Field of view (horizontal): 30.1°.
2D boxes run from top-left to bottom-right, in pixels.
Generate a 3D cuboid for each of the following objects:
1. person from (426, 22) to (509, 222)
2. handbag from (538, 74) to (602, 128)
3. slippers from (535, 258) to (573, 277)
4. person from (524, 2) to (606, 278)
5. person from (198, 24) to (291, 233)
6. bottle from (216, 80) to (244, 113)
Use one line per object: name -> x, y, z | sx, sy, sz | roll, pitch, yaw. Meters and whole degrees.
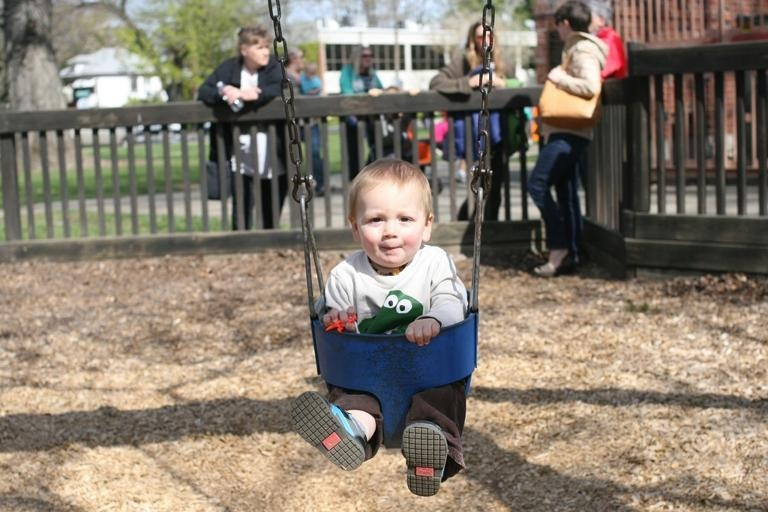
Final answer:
person -> 0.998, -1.454, 15.238 | 0.750, 2.023, 0.551 | 1, -1, -15
handbag -> 1.837, -1.523, 14.150 | 0.585, 0.505, 0.203 | 0, 13, 8
slippers -> 1.777, 0.097, 14.754 | 0.429, 0.176, 0.166 | -7, 5, -17
person -> 1.809, -1.169, 14.340 | 0.813, 2.671, 0.816 | 0, 3, 1
person -> -1.432, -1.326, 15.132 | 0.909, 2.128, 0.761 | 3, -3, -21
bottle -> -1.607, -1.685, 14.926 | 0.286, 0.342, 0.172 | -4, 13, -6
